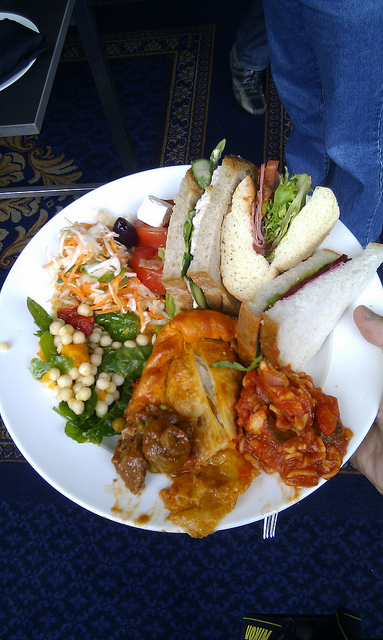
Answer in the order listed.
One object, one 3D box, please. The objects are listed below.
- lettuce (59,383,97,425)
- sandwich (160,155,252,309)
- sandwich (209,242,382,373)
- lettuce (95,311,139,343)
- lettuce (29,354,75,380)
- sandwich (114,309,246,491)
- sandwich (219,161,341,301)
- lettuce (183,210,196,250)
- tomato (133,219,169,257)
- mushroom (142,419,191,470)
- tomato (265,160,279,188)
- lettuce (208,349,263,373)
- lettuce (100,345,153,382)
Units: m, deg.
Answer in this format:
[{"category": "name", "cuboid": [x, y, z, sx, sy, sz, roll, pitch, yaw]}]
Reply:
[{"category": "lettuce", "cuboid": [-0.324, 0.257, 1.497, 0.107, 0.116, 0.095, -38, 79, -5]}, {"category": "sandwich", "cuboid": [0.026, -0.278, 1.541, 0.139, 0.326, 0.426, 13, 92, 35]}, {"category": "sandwich", "cuboid": [0.302, -0.056, 1.417, 0.411, 0.151, 0.398, 10, 87, -31]}, {"category": "lettuce", "cuboid": [-0.242, 0.017, 1.680, 0.129, 0.065, 0.096, 20, 99, -1]}, {"category": "lettuce", "cuboid": [-0.425, 0.138, 1.516, 0.126, 0.061, 0.065, -17, 78, -1]}, {"category": "sandwich", "cuboid": [0.005, 0.241, 1.414, 0.310, 0.168, 0.494, 10, 73, 24]}, {"category": "sandwich", "cuboid": [0.306, -0.300, 1.402, 0.128, 0.356, 0.271, 6, 46, -30]}, {"category": "lettuce", "cuboid": [-0.008, -0.270, 1.496, 0.028, 0.021, 0.118, 5, 100, -19]}, {"category": "tomato", "cuboid": [-0.136, -0.302, 1.766, 0.131, 0.111, 0.129, -10, 48, -24]}, {"category": "mushroom", "cuboid": [-0.069, 0.312, 1.240, 0.124, 0.071, 0.109, 25, 80, 7]}, {"category": "tomato", "cuboid": [0.213, -0.396, 1.333, 0.057, 0.046, 0.057, 4, 92, 7]}, {"category": "lettuce", "cuboid": [0.120, 0.104, 1.387, 0.085, 0.063, 0.031, -21, 96, -12]}, {"category": "lettuce", "cuboid": [-0.220, 0.137, 1.621, 0.170, 0.048, 0.119, 3, 79, 2]}]
